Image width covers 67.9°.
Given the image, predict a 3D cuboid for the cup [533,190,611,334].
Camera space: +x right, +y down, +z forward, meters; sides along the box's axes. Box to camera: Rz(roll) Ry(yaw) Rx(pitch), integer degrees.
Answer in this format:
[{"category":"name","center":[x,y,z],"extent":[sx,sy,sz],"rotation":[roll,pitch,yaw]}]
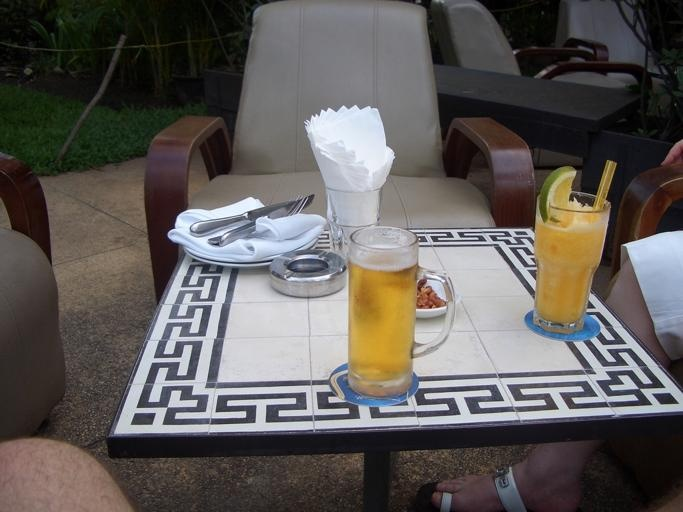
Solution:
[{"category":"cup","center":[0.351,0.013,0.865],"extent":[0.113,0.221,0.120],"rotation":[0,26,0]}]

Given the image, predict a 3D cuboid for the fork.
[{"category":"fork","center":[-0.185,-0.075,1.110],"extent":[0.036,0.046,0.318],"rotation":[50,40,7]}]

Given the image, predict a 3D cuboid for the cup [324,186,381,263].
[{"category":"cup","center":[0.018,-0.073,0.986],"extent":[0.115,0.192,0.123],"rotation":[0,34,0]}]

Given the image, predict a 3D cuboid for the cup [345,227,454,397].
[{"category":"cup","center":[0.077,0.075,0.695],"extent":[0.153,0.225,0.110],"rotation":[-6,30,-2]}]
